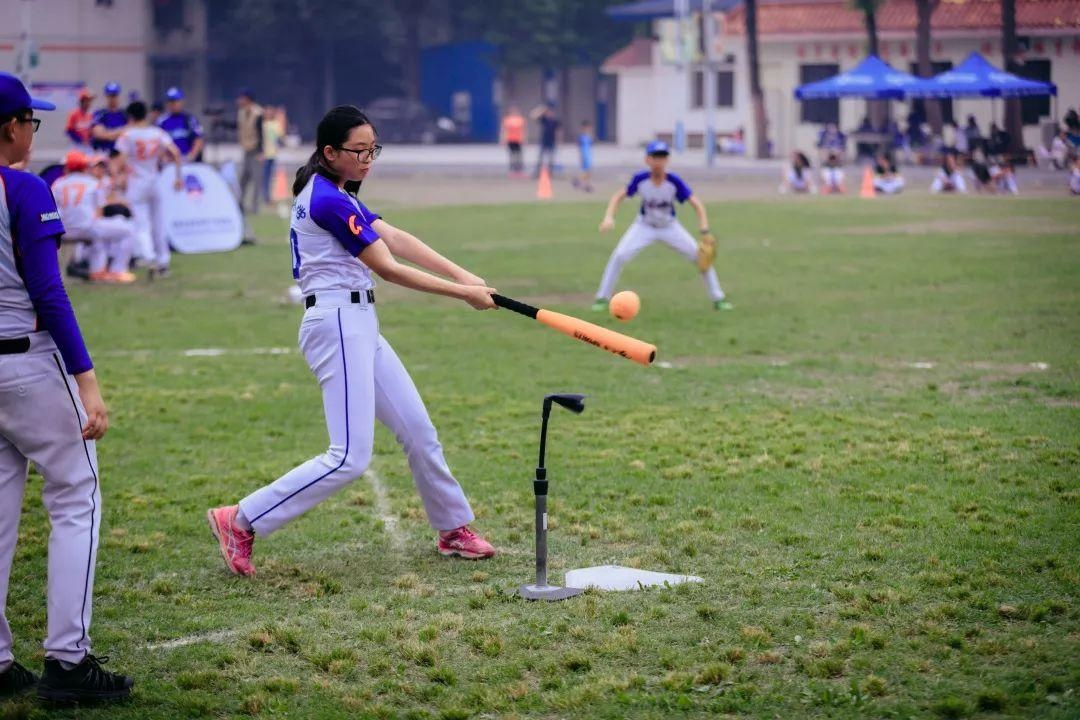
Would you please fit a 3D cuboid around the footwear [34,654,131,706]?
[{"bbox_3d":[-2.545,1.763,8.740,0.534,0.286,0.230,1,2,-13],"label":"footwear"}]

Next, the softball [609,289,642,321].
[{"bbox_3d":[0.609,-0.401,11.244,0.222,0.176,0.191,-46,11,-29],"label":"softball"}]

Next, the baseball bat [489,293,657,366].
[{"bbox_3d":[0.307,-0.245,12.516,1.139,0.168,0.171,26,11,7],"label":"baseball bat"}]

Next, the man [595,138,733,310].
[{"bbox_3d":[0.943,-1.033,12.108,1.105,1.288,0.714,0,10,5],"label":"man"}]

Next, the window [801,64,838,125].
[{"bbox_3d":[1.913,-1.886,10.527,0.284,0.500,0.293,0,47,14],"label":"window"}]

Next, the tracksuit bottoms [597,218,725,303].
[{"bbox_3d":[0.991,-0.929,12.654,1.029,0.997,0.531,3,40,15],"label":"tracksuit bottoms"}]
